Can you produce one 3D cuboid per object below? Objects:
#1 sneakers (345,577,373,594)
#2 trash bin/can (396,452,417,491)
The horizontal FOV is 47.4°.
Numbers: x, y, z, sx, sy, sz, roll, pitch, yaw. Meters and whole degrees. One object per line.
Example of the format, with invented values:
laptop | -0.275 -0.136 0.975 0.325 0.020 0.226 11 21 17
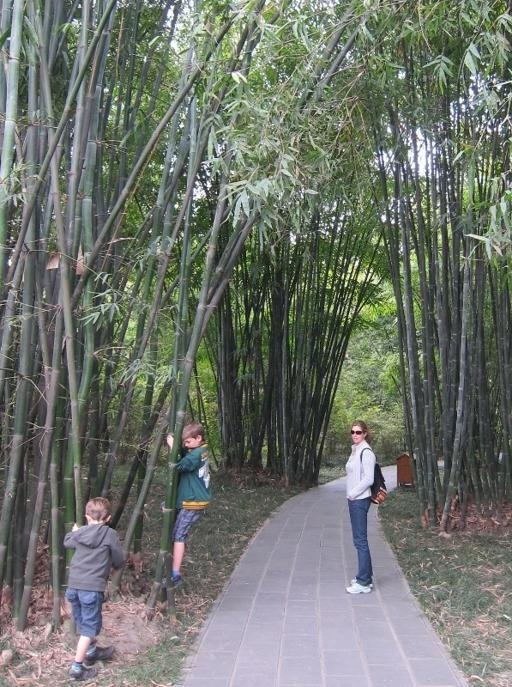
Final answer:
sneakers | 0.453 1.061 2.575 0.105 0.061 0.049 4 -11 5
trash bin/can | 1.731 1.473 6.787 0.167 0.395 0.626 0 -7 12
